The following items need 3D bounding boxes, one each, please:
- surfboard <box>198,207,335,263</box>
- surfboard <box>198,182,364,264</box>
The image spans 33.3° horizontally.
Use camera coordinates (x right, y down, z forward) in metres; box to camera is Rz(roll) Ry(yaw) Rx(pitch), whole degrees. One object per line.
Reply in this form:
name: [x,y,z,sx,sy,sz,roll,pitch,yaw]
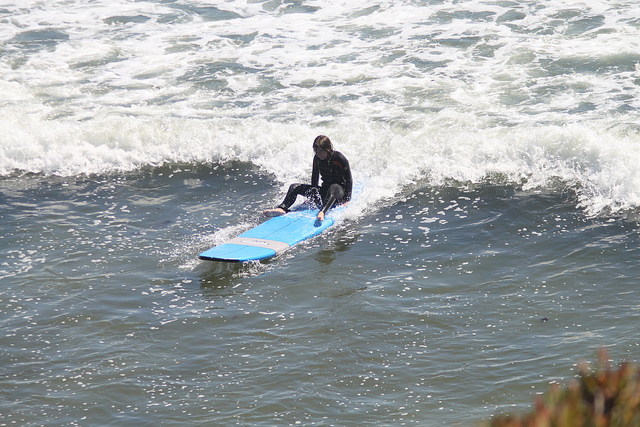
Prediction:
surfboard: [-1.201,0.579,25.817,1.160,0.408,3.875,22,27,32]
surfboard: [-0.803,0.244,26.090,1.222,0.456,4.699,24,29,33]
